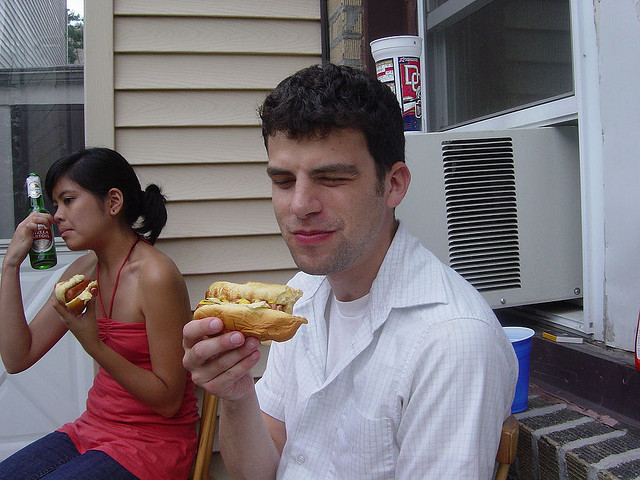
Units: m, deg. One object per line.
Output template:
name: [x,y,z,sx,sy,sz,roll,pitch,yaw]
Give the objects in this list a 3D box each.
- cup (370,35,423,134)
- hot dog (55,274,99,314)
cup: [0.409,-0.806,2.825,0.264,0.515,0.264,-2,7,0]
hot dog: [-1.152,0.263,2.544,0.176,0.172,0.188,-6,8,-29]
